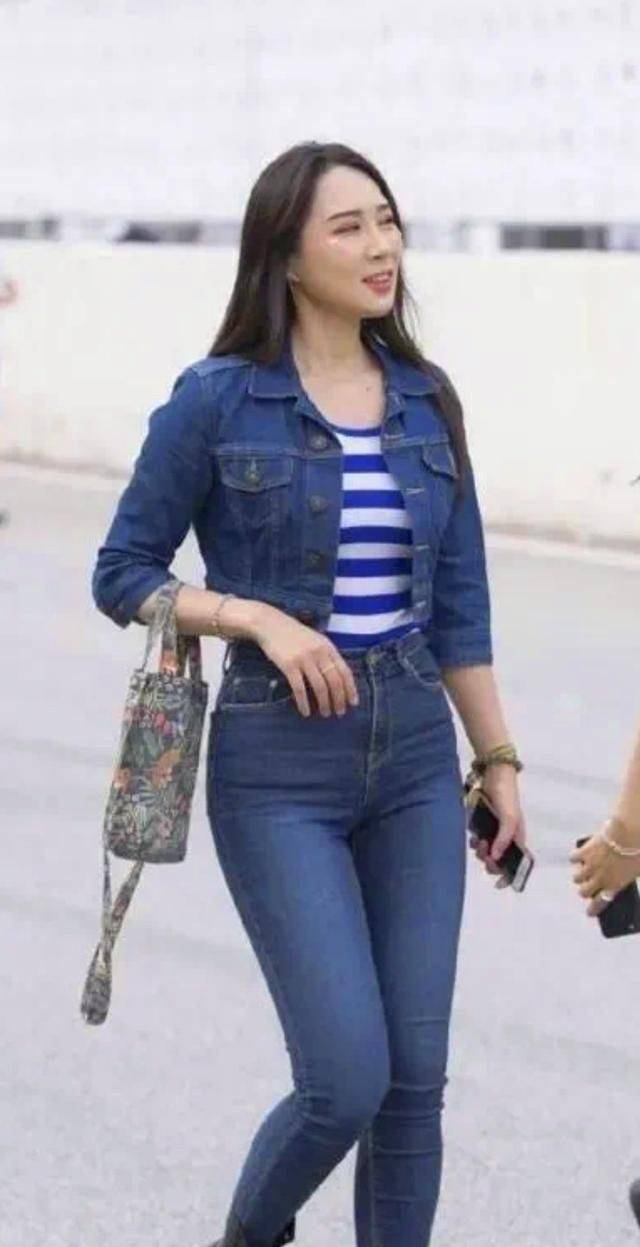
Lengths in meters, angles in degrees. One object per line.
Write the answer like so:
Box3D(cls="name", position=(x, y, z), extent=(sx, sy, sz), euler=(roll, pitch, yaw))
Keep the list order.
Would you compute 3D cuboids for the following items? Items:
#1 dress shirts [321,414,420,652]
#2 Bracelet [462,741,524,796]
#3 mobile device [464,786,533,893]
Box3D(cls="dress shirts", position=(0.072, -0.189, 2.048), extent=(0.185, 0.447, 0.159), euler=(-9, 37, -7))
Box3D(cls="Bracelet", position=(0.317, 0.263, 2.270), extent=(0.054, 0.109, 0.088), euler=(52, 4, 18))
Box3D(cls="mobile device", position=(0.326, 0.398, 2.281), extent=(0.052, 0.199, 0.143), euler=(-26, 36, -20))
